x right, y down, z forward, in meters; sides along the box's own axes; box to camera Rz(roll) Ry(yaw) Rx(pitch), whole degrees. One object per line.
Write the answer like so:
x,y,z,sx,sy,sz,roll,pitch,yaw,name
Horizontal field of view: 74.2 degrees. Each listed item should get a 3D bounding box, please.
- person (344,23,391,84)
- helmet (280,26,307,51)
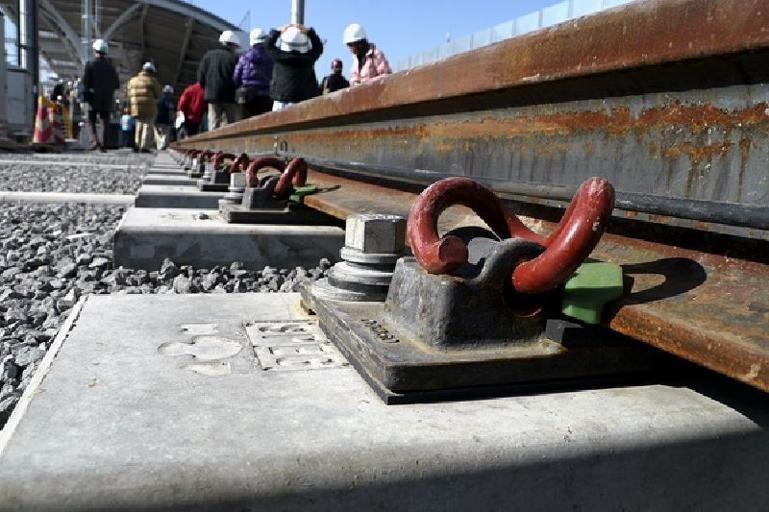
-0.358,-3.958,9.780,0.632,1.296,1.865,-2,14,-12,person
-1.593,-3.849,9.000,0.496,0.384,0.326,0,14,-8,helmet
